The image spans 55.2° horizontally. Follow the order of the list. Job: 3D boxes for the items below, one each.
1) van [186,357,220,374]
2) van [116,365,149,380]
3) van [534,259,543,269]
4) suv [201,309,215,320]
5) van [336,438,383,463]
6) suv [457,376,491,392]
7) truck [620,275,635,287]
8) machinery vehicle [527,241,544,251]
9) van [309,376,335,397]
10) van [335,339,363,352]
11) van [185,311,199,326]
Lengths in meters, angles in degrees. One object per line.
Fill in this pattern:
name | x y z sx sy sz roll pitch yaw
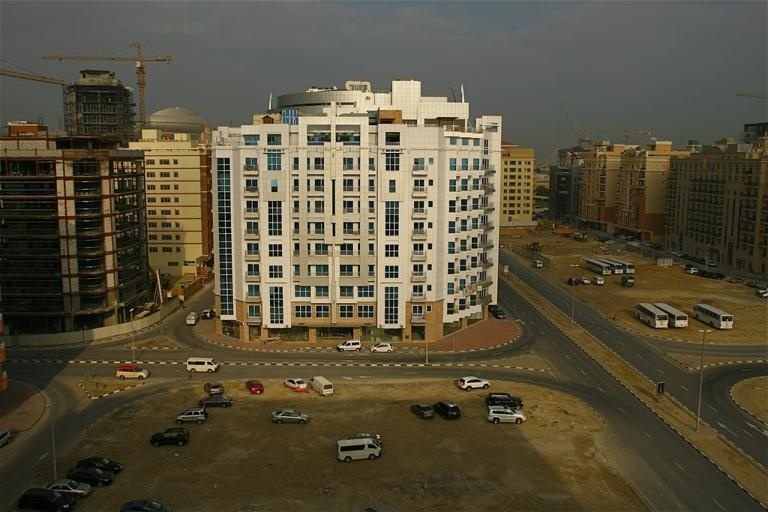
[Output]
van | -30.020 17.988 120.811 5.294 1.911 2.383 -3 14 -9
van | -40.737 18.777 118.182 5.080 1.973 2.020 -1 14 2
van | 43.389 2.079 203.780 2.802 1.520 7.437 0 6 7
suv | -35.251 11.629 147.644 2.215 1.071 2.767 0 16 0
van | -3.176 25.784 97.699 6.033 1.569 2.637 -1 10 -6
suv | 14.352 20.085 116.001 5.001 1.562 2.502 -1 13 1
truck | 60.228 6.054 178.983 3.542 2.430 4.436 2 4 23
machinery vehicle | 49.329 -3.433 236.613 4.326 1.269 4.644 2 12 10
van | -9.273 20.250 114.301 2.619 1.393 3.869 -2 13 -31
van | -5.941 15.939 130.204 4.152 1.290 1.908 2 1 -2
van | -37.734 12.324 144.018 2.263 1.196 3.038 -1 4 -9
